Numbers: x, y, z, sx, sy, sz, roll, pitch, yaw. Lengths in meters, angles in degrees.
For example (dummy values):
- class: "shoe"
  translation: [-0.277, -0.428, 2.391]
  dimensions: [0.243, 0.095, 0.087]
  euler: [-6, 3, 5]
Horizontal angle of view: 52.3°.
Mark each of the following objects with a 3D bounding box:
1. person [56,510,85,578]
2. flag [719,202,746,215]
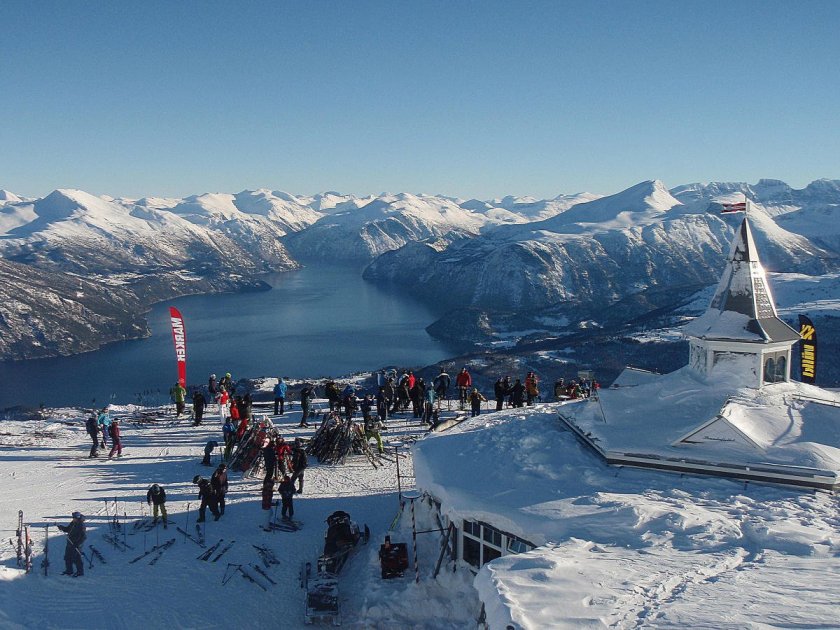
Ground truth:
- class: "person"
  translation: [-13.415, 8.690, 32.795]
  dimensions: [0.862, 2.512, 1.502]
  euler: [-3, -3, -21]
- class: "flag"
  translation: [15.073, -5.279, 41.163]
  dimensions: [0.889, 0.483, 1.832]
  euler: [-3, -3, 11]
